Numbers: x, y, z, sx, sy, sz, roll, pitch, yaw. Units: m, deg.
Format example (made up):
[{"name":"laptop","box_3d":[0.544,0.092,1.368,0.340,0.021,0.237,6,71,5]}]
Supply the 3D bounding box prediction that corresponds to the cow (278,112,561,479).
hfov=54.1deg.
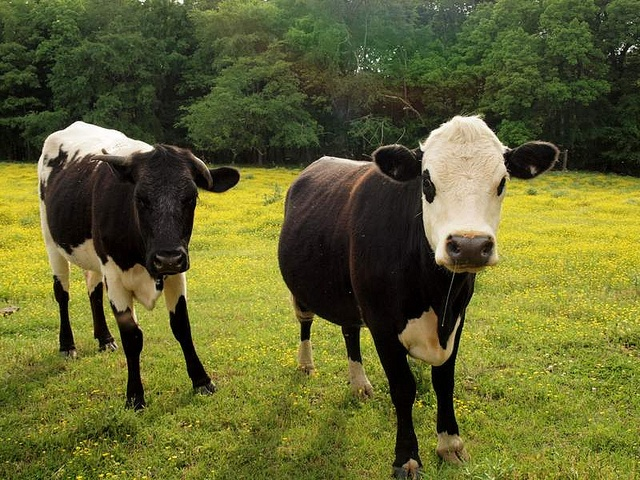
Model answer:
[{"name":"cow","box_3d":[1.100,0.624,9.156,1.702,4.782,3.363,-13,19,-40]}]
